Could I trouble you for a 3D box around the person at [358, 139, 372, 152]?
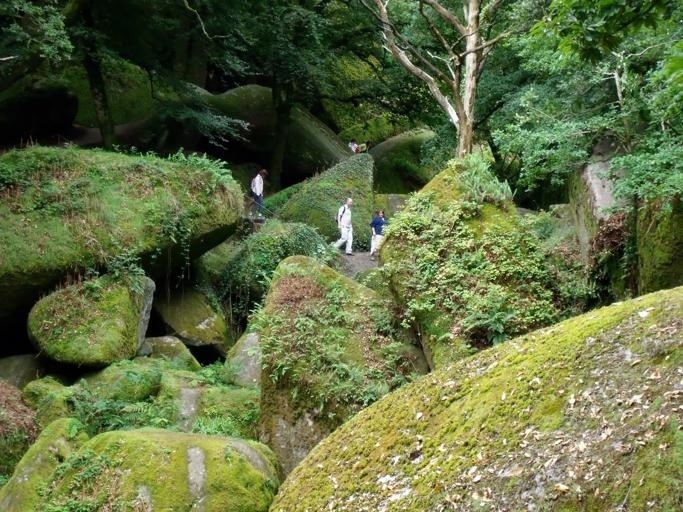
[{"bbox_3d":[1.015,-4.736,32.605,0.328,0.331,1.358,26,20,12],"label":"person"}]
